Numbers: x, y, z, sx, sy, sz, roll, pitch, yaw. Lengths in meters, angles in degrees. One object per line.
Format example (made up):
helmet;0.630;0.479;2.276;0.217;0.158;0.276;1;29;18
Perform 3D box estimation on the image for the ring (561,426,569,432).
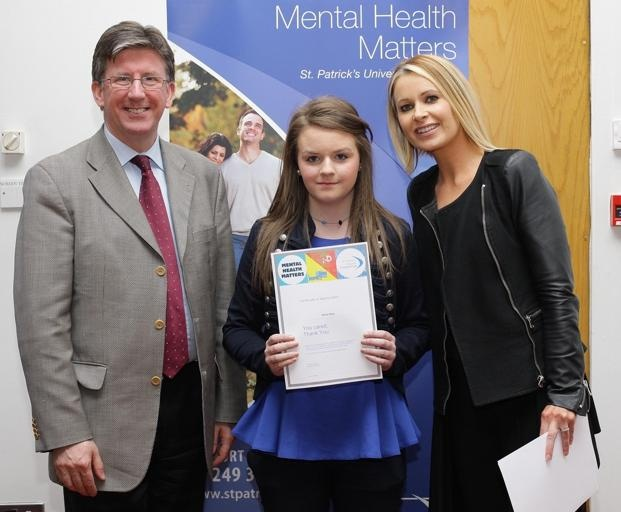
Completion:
ring;0.876;0.593;1.934;0.022;0.017;0.008;-9;-3;33
